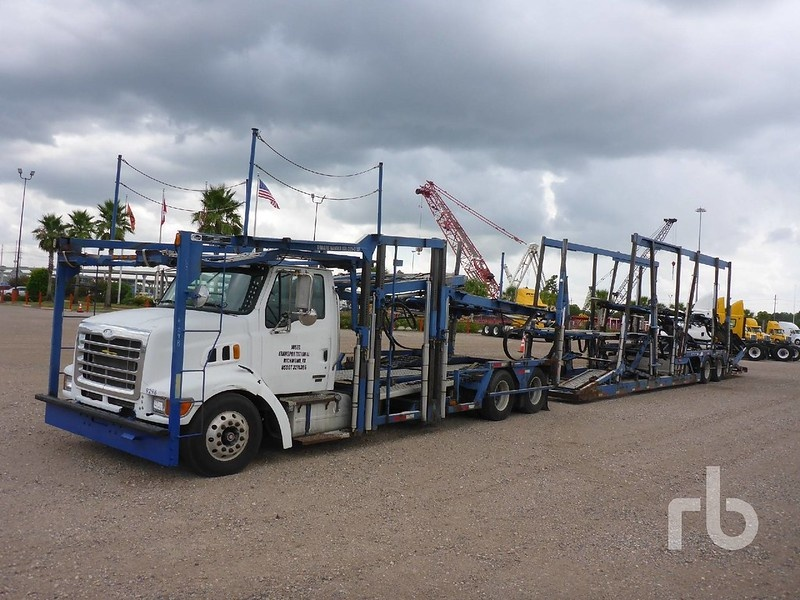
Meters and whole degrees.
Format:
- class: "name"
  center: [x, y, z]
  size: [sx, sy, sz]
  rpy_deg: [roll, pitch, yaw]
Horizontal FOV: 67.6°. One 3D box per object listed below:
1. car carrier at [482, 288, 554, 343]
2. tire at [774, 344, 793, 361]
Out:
- class: "car carrier"
  center: [3.599, 0.344, 17.325]
  size: [0.887, 1.431, 2.535]
  rpy_deg: [12, -14, -35]
- class: "tire"
  center: [20.620, 2.792, 31.905]
  size: [0.729, 0.817, 0.292]
  rpy_deg: [-3, -6, 30]
